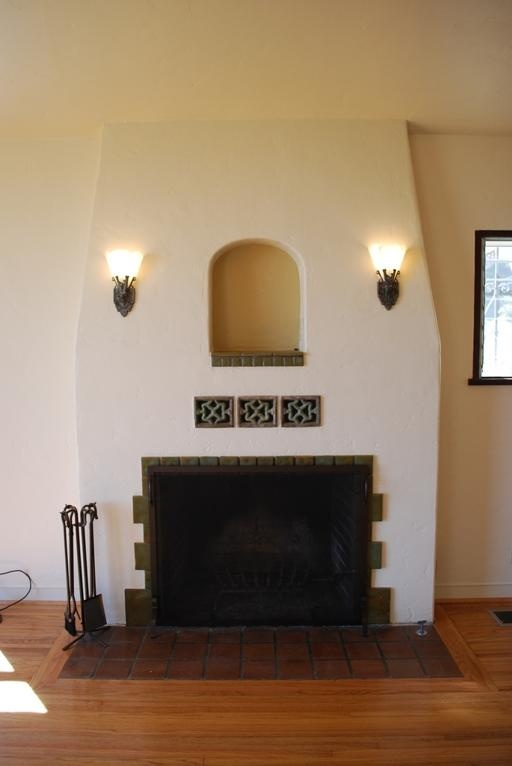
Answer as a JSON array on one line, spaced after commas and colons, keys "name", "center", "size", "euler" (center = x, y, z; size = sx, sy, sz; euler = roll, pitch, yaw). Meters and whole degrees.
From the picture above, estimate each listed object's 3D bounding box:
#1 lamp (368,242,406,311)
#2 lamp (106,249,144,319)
[{"name": "lamp", "center": [0.617, -0.500, 3.166], "size": [0.171, 0.313, 0.121], "euler": [2, 14, 11]}, {"name": "lamp", "center": [-0.610, -0.463, 3.147], "size": [0.176, 0.316, 0.158], "euler": [-2, 13, -7]}]
